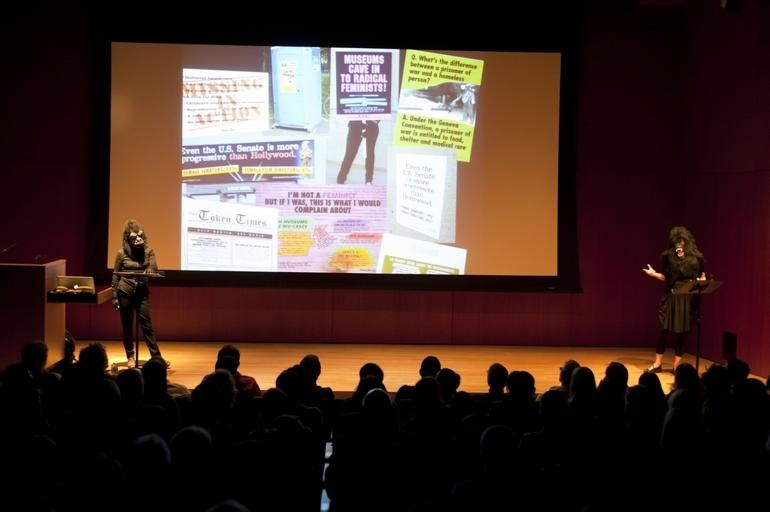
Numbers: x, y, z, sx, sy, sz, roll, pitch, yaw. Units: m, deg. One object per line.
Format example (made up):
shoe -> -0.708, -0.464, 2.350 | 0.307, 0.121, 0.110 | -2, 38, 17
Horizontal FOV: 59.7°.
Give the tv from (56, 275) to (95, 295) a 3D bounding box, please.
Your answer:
tv -> -3.478, 0.307, 7.557 | 0.282, 0.235, 0.203 | 2, 31, -7
